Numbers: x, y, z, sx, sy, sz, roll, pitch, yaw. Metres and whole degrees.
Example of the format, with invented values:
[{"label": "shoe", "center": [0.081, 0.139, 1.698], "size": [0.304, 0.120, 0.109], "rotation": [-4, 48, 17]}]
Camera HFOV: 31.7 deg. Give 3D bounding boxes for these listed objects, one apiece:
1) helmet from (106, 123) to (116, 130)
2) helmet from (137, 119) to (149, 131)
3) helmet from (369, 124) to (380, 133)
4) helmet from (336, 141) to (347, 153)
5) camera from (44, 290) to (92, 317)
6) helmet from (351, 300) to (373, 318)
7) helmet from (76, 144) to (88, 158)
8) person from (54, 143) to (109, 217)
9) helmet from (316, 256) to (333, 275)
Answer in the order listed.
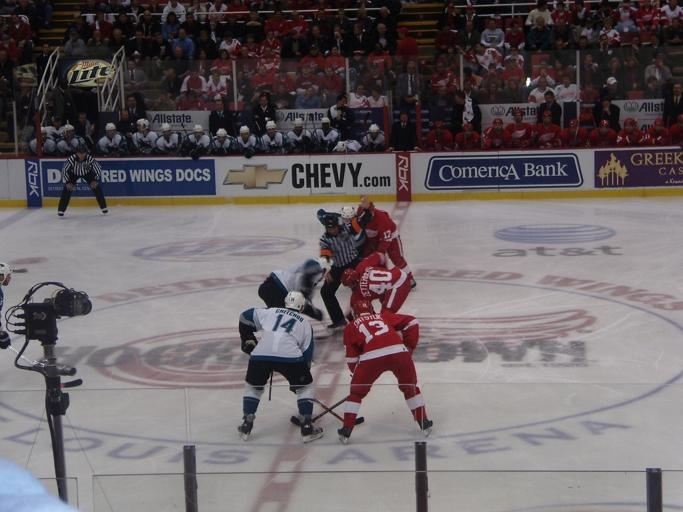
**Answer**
[{"label": "helmet", "center": [-4.904, -2.723, 25.467], "size": [0.212, 0.123, 0.204], "rotation": [-4, 3, -32]}, {"label": "helmet", "center": [-4.226, -2.800, 25.631], "size": [0.218, 0.212, 0.269], "rotation": [1, 4, -1]}, {"label": "helmet", "center": [0.683, -2.672, 25.193], "size": [0.214, 0.207, 0.327], "rotation": [-2, 5, 1]}, {"label": "helmet", "center": [-0.030, -2.264, 25.133], "size": [0.271, 0.242, 0.184], "rotation": [-2, 5, -1]}, {"label": "camera", "center": [-2.860, 0.522, 12.636], "size": [0.429, 0.260, 0.200], "rotation": [0, -11, -10]}, {"label": "helmet", "center": [0.238, 0.675, 14.819], "size": [0.224, 0.219, 0.257], "rotation": [0, 10, -5]}, {"label": "helmet", "center": [-5.265, -2.089, 24.311], "size": [0.246, 0.249, 0.274], "rotation": [-2, 4, -11]}, {"label": "person", "center": [-5.358, -1.463, 24.561], "size": [1.060, 1.518, 0.845], "rotation": [1, 16, -9]}, {"label": "helmet", "center": [-0.235, 0.155, 16.426], "size": [0.221, 0.262, 0.161], "rotation": [-14, -14, -43]}]
